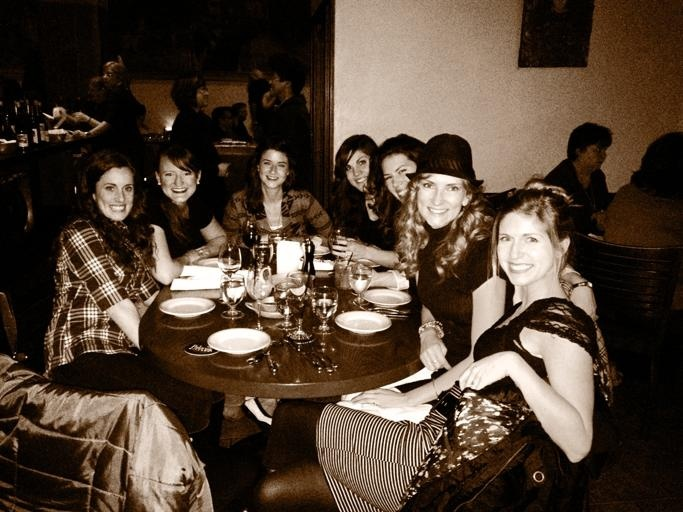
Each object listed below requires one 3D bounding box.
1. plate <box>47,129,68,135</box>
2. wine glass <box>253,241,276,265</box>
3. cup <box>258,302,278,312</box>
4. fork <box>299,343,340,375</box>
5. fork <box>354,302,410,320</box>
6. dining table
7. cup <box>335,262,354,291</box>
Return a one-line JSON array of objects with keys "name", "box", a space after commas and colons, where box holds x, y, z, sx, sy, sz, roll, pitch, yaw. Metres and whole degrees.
[{"name": "plate", "box": [-2.633, -1.142, 5.404, 0.129, 0.048, 0.129, -6, 17, -22]}, {"name": "wine glass", "box": [-0.415, -0.016, 3.137, 0.114, 0.132, 0.116, 7, 9, 2]}, {"name": "cup", "box": [-0.326, 0.228, 2.607, 0.040, 0.033, 0.054, 3, -7, 19]}, {"name": "fork", "box": [-0.094, 0.387, 2.234, 0.061, 0.005, 0.207, -11, 15, -23]}, {"name": "fork", "box": [0.191, 0.250, 2.641, 0.272, 0.040, 0.089, 13, 21, -17]}, {"name": "dining table", "box": [-0.203, 0.358, 2.445, 0.819, 0.419, 0.833, 6, 17, 10]}, {"name": "cup", "box": [0.000, 0.096, 2.917, 0.128, 0.127, 0.096, -4, 14, -15]}]
